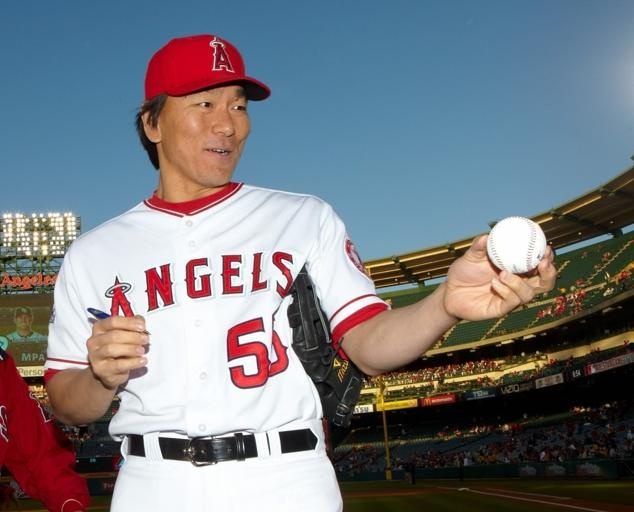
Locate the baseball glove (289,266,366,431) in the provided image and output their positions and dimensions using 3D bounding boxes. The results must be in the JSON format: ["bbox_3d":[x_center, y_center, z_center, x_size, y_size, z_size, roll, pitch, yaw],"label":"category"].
[{"bbox_3d":[0.009,0.498,3.362,0.222,0.680,0.411,-10,-5,-37],"label":"baseball glove"}]
